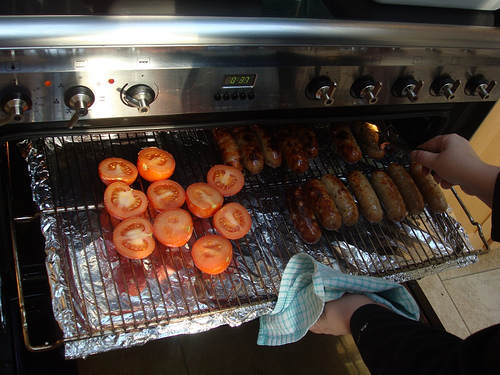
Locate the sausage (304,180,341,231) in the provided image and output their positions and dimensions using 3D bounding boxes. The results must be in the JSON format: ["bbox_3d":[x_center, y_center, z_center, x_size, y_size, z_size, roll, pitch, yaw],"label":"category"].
[{"bbox_3d":[0.402,0.083,1.993,0.132,0.120,0.339,-16,50,-10],"label":"sausage"}]

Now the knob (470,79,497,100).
[{"bbox_3d":[1.167,-0.496,1.759,0.119,0.095,0.052,-5,32,-11],"label":"knob"}]

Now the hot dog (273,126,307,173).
[{"bbox_3d":[0.235,-0.221,2.079,0.086,0.076,0.298,3,38,-20],"label":"hot dog"}]

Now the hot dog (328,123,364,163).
[{"bbox_3d":[0.594,-0.281,2.190,0.132,0.105,0.307,-11,50,-2],"label":"hot dog"}]

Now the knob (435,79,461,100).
[{"bbox_3d":[0.982,-0.479,1.718,0.112,0.085,0.042,-2,56,-24],"label":"knob"}]

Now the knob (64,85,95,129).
[{"bbox_3d":[-0.693,-0.330,1.427,0.122,0.164,0.081,-13,34,-22],"label":"knob"}]

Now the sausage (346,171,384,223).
[{"bbox_3d":[0.682,0.040,2.075,0.114,0.123,0.394,-14,46,-5],"label":"sausage"}]

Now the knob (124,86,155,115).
[{"bbox_3d":[-0.451,-0.369,1.448,0.086,0.117,0.044,-16,4,-11],"label":"knob"}]

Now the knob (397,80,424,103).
[{"bbox_3d":[0.767,-0.463,1.683,0.107,0.101,0.058,6,32,6],"label":"knob"}]

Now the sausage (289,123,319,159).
[{"bbox_3d":[0.322,-0.320,2.216,0.095,0.099,0.331,-4,39,-13],"label":"sausage"}]

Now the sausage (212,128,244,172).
[{"bbox_3d":[-0.124,-0.219,2.029,0.087,0.081,0.280,7,39,-30],"label":"sausage"}]

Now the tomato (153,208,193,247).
[{"bbox_3d":[-0.382,0.203,1.722,0.184,0.141,0.162,-15,36,-24],"label":"tomato"}]

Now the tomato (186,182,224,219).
[{"bbox_3d":[-0.239,0.055,1.820,0.165,0.072,0.187,-22,63,-32],"label":"tomato"}]

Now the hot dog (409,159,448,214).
[{"bbox_3d":[1.004,0.004,1.966,0.102,0.100,0.334,-7,49,-9],"label":"hot dog"}]

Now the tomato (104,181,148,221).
[{"bbox_3d":[-0.627,0.083,1.762,0.201,0.176,0.150,6,32,7],"label":"tomato"}]

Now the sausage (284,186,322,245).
[{"bbox_3d":[0.269,0.125,1.951,0.121,0.122,0.362,-2,44,-16],"label":"sausage"}]

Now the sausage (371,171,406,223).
[{"bbox_3d":[0.828,0.037,2.088,0.113,0.119,0.360,-12,51,-3],"label":"sausage"}]

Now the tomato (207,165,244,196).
[{"bbox_3d":[-0.131,-0.046,1.930,0.176,0.048,0.171,18,66,-4],"label":"tomato"}]

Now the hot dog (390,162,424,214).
[{"bbox_3d":[0.935,0.003,2.121,0.095,0.103,0.342,-7,50,-10],"label":"hot dog"}]

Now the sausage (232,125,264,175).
[{"bbox_3d":[-0.012,-0.255,2.110,0.133,0.114,0.418,-11,45,-6],"label":"sausage"}]

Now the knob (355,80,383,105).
[{"bbox_3d":[0.552,-0.450,1.647,0.101,0.105,0.064,19,36,25],"label":"knob"}]
